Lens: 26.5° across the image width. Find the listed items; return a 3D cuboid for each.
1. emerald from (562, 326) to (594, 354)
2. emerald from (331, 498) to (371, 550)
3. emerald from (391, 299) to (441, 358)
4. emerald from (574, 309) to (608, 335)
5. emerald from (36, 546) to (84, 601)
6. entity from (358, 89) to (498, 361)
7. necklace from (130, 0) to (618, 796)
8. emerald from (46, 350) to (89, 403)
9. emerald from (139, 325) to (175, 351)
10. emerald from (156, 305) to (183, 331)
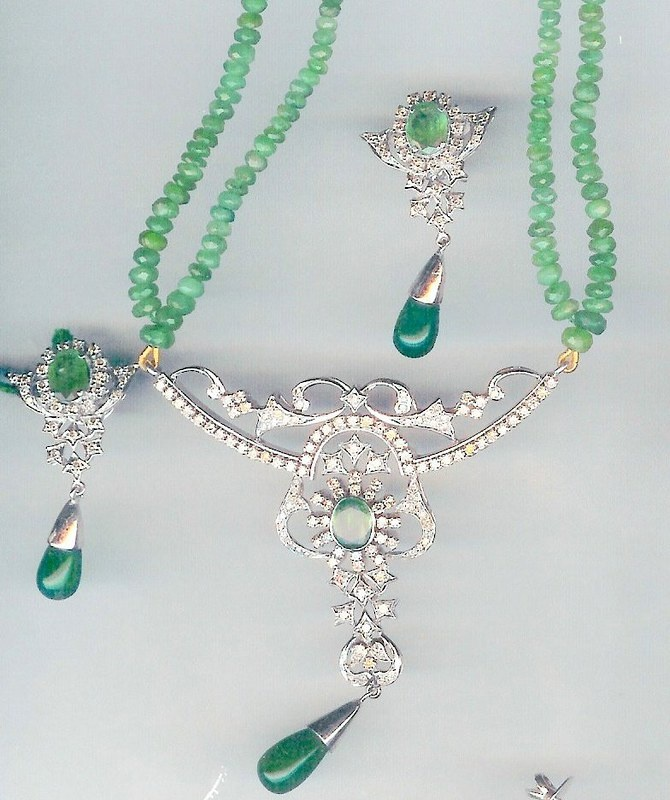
[{"bbox_3d":[0.327,-0.083,1.939,0.033,0.038,0.020,9,-4,6],"label":"emerald"},{"bbox_3d":[0.022,0.168,1.928,0.059,0.065,0.034,-11,-21,-3],"label":"emerald"},{"bbox_3d":[0.112,-0.100,1.957,0.071,0.076,0.052,-12,-21,0],"label":"emerald"},{"bbox_3d":[0.346,-0.107,1.941,0.038,0.028,0.014,28,10,5],"label":"emerald"},{"bbox_3d":[-0.379,0.236,1.980,0.062,0.092,0.021,6,-36,-2],"label":"emerald"},{"bbox_3d":[0.123,-0.237,1.961,0.180,0.360,0.341,0,-2,25],"label":"entity"},{"bbox_3d":[0.103,-0.066,1.931,0.739,0.986,0.328,-19,-22,17],"label":"necklace"},{"bbox_3d":[-0.368,-0.034,1.973,0.060,0.075,0.017,13,-38,-14],"label":"emerald"},{"bbox_3d":[-0.246,-0.085,1.970,0.045,0.037,0.049,-10,-22,-7],"label":"emerald"},{"bbox_3d":[-0.226,-0.113,1.954,0.030,0.034,0.016,-4,0,-14],"label":"emerald"}]
